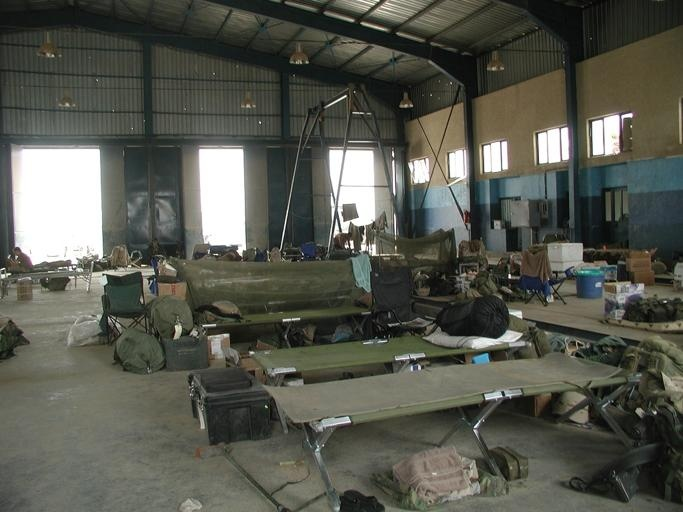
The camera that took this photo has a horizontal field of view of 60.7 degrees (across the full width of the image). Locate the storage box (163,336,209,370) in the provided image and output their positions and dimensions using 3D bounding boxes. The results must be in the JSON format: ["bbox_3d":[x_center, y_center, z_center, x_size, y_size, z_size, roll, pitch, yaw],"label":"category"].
[{"bbox_3d":[-1.841,1.163,6.938,0.384,0.275,0.404,0,-1,-27],"label":"storage box"}]

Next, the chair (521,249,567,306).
[{"bbox_3d":[3.353,0.326,9.896,0.649,0.897,1.112,-3,3,18],"label":"chair"}]

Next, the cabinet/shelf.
[{"bbox_3d":[0.595,1.312,5.262,3.114,0.930,1.677,-6,3,-12],"label":"cabinet/shelf"}]

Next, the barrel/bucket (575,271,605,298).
[{"bbox_3d":[4.268,0.522,10.118,0.402,0.494,0.437,0,-4,0],"label":"barrel/bucket"}]

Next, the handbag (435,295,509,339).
[{"bbox_3d":[1.303,0.628,5.847,0.709,0.506,0.541,-9,1,25],"label":"handbag"}]

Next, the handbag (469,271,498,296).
[{"bbox_3d":[2.191,0.429,8.960,0.366,0.221,0.516,1,5,7],"label":"handbag"}]

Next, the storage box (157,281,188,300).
[{"bbox_3d":[-2.631,0.522,9.007,0.467,0.178,0.351,-5,3,-3],"label":"storage box"}]

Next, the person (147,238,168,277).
[{"bbox_3d":[-4.164,0.068,13.194,0.244,0.932,0.275,-14,-10,-9],"label":"person"}]

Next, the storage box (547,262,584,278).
[{"bbox_3d":[4.299,0.247,11.251,0.531,0.221,0.566,0,3,30],"label":"storage box"}]

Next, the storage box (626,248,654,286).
[{"bbox_3d":[5.799,0.244,11.371,0.451,0.996,0.640,0,2,13],"label":"storage box"}]

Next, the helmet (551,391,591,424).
[{"bbox_3d":[2.092,1.360,5.385,0.291,0.310,0.256,1,3,3],"label":"helmet"}]
